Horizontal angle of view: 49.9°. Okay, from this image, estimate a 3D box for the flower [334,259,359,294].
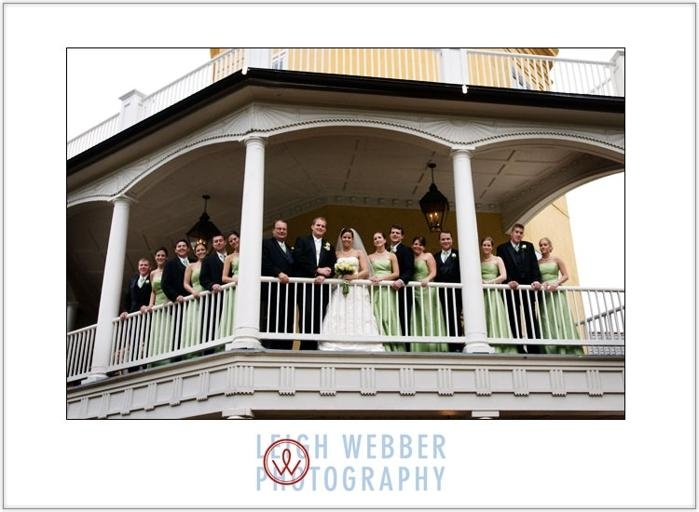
[{"bbox_3d":[-0.046,0.326,12.794,0.431,0.606,0.493,4,-1,45],"label":"flower"}]

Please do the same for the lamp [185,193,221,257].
[{"bbox_3d":[-3.096,-0.683,15.995,0.702,1.348,0.702,-1,-21,2],"label":"lamp"}]

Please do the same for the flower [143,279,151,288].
[{"bbox_3d":[-3.828,0.513,14.210,0.196,0.111,0.140,-1,-14,-8],"label":"flower"}]

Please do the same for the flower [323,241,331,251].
[{"bbox_3d":[-0.395,-0.174,13.201,0.129,0.142,0.063,-1,-31,-11],"label":"flower"}]
